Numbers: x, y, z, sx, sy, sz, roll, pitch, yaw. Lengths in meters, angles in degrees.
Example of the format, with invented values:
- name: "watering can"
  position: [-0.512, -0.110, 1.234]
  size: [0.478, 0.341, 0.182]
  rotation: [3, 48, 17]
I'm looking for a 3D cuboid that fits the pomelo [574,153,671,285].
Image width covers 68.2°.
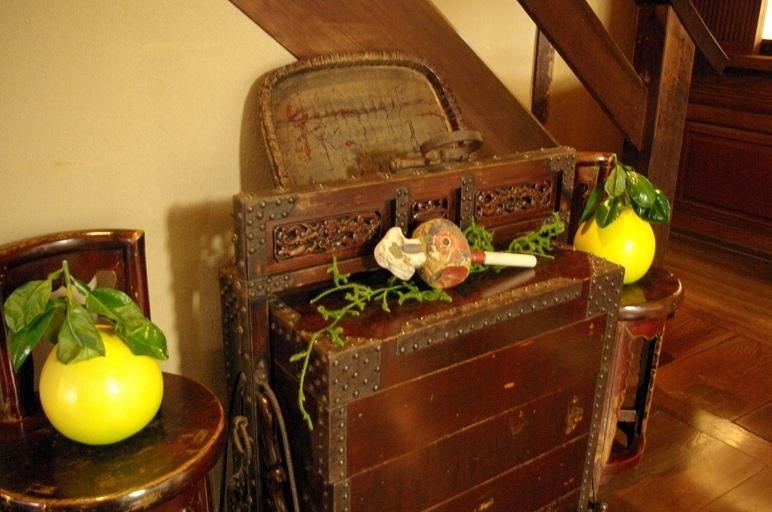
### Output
- name: "pomelo"
  position: [0.892, -0.113, 2.349]
  size: [0.369, 0.528, 0.341]
  rotation: [-1, 31, -8]
